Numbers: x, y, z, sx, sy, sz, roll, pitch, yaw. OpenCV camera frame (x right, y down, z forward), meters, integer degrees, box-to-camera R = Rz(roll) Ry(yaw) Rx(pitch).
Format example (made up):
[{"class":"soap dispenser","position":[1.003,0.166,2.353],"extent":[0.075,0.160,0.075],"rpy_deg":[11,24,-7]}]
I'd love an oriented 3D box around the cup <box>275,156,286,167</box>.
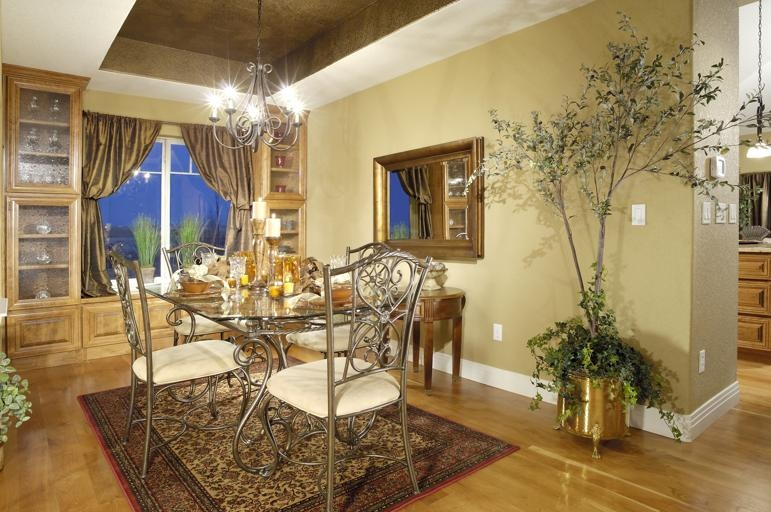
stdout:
[{"class":"cup","position":[-1.358,-1.229,6.802],"extent":[0.129,0.118,0.129],"rpy_deg":[-2,-1,0]}]

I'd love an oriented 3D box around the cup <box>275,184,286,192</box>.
[{"class":"cup","position":[-1.355,-0.875,6.807],"extent":[0.122,0.103,0.066],"rpy_deg":[-2,3,-19]}]

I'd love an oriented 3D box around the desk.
[{"class":"desk","position":[0.449,0.738,5.037],"extent":[0.815,0.945,0.807],"rpy_deg":[0,1,14]}]

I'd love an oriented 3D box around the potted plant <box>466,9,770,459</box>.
[{"class":"potted plant","position":[1.888,-0.292,4.245],"extent":[1.984,3.352,1.085],"rpy_deg":[-1,3,10]}]

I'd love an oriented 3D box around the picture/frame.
[{"class":"picture/frame","position":[0.411,-0.582,5.466],"extent":[1.213,1.019,0.110],"rpy_deg":[1,6,38]}]

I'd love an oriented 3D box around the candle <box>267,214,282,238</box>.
[{"class":"candle","position":[-0.883,-0.222,4.115],"extent":[0.104,0.167,0.163],"rpy_deg":[-2,3,-19]}]

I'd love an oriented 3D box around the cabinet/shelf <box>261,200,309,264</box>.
[{"class":"cabinet/shelf","position":[-1.288,-0.300,6.851],"extent":[0.415,1.111,0.118],"rpy_deg":[1,-35,-17]}]

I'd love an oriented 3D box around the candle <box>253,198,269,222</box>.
[{"class":"candle","position":[-1.016,-0.377,4.250],"extent":[0.083,0.195,0.253],"rpy_deg":[-1,2,-5]}]

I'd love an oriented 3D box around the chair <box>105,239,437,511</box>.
[{"class":"chair","position":[-0.971,0.702,4.110],"extent":[1.642,1.566,2.331],"rpy_deg":[0,0,-39]}]
